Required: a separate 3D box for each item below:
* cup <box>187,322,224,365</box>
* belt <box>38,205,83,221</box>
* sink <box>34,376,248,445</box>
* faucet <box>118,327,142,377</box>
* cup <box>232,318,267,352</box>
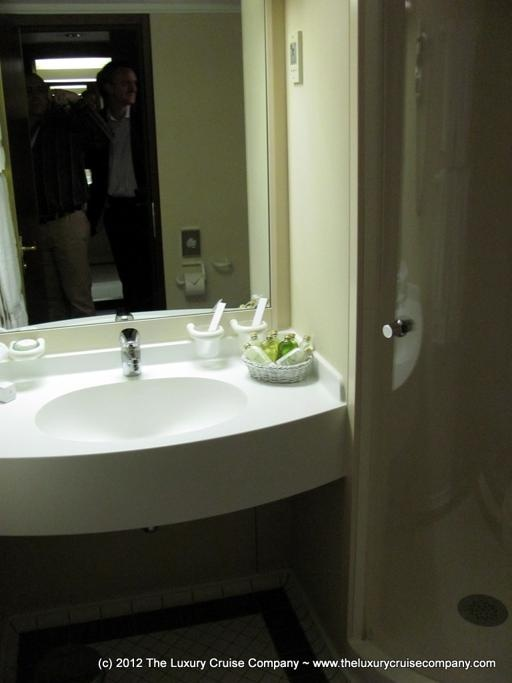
[{"bbox_3d":[-0.131,0.013,1.502,0.099,0.121,0.100,1,18,0],"label":"cup"},{"bbox_3d":[-0.489,-0.327,1.399,0.055,0.016,0.055,18,44,38],"label":"belt"},{"bbox_3d":[-0.257,0.165,1.339,0.458,0.147,0.166,-9,23,-10],"label":"sink"},{"bbox_3d":[-0.320,0.021,1.435,0.048,0.113,0.089,-7,22,-10],"label":"faucet"},{"bbox_3d":[-0.015,-0.029,1.531,0.071,0.097,0.086,-4,13,-13],"label":"cup"}]
